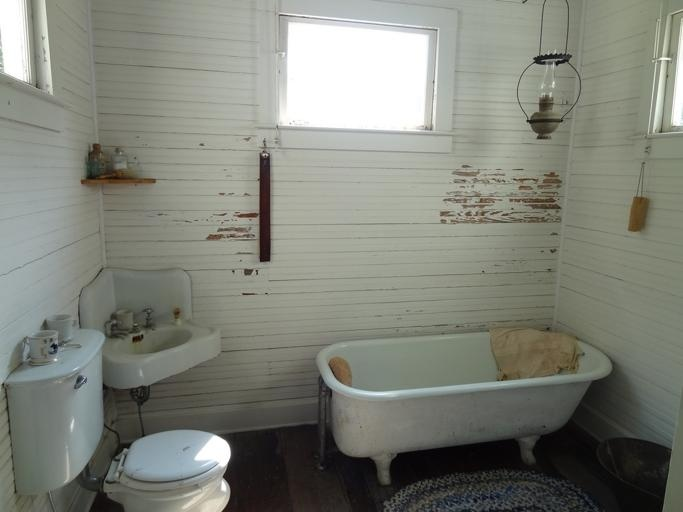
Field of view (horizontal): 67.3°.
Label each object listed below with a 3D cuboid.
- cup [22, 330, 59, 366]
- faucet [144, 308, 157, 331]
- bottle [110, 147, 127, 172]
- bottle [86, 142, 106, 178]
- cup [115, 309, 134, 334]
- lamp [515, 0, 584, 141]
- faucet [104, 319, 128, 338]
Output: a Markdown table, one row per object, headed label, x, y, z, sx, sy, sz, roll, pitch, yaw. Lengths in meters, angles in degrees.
| label | x | y | z | sx | sy | sz | roll | pitch | yaw |
| --- | --- | --- | --- | --- | --- | --- | --- | --- | --- |
| cup | -1.374 | 0.427 | 2.404 | 0.117 | 0.133 | 0.173 | 6 | 10 | 20 |
| faucet | -1.244 | 0.403 | 3.309 | 0.060 | 0.118 | 0.142 | -6 | 14 | -22 |
| bottle | -1.382 | -0.594 | 3.179 | 0.095 | 0.153 | 0.122 | -6 | 14 | -23 |
| bottle | -1.482 | -0.565 | 3.067 | 0.095 | 0.202 | 0.134 | -3 | 14 | -10 |
| cup | -1.351 | 0.409 | 3.178 | 0.160 | 0.121 | 0.094 | -7 | 14 | -39 |
| lamp | 1.406 | -1.287 | 3.458 | 0.438 | 0.975 | 0.773 | 6 | 14 | 23 |
| faucet | -1.387 | 0.447 | 3.160 | 0.147 | 0.090 | 0.088 | -4 | 15 | -12 |
